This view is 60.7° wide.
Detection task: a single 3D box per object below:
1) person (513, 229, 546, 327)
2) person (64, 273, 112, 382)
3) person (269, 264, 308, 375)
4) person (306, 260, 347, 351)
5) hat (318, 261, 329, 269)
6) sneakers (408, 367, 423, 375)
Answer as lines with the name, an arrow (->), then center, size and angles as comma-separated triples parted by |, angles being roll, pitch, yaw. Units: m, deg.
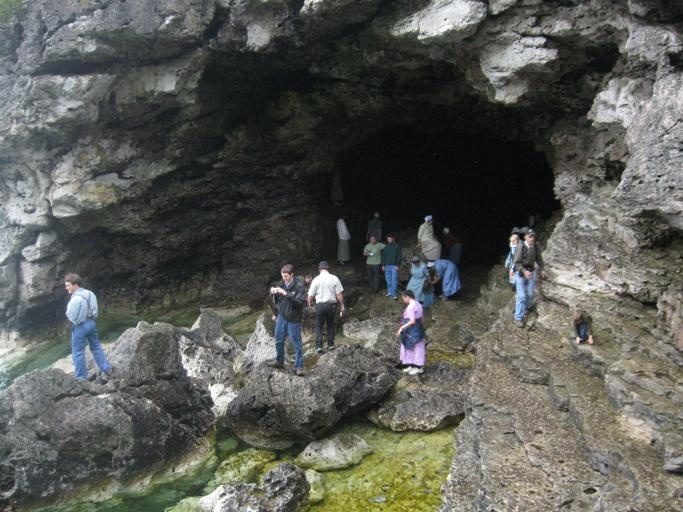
person -> 3.556, 0.424, 11.173 | 0.363, 1.819, 0.666 | 7, 5, 43
person -> -4.748, 1.329, 10.894 | 0.723, 1.905, 0.855 | 1, 5, -33
person -> -1.024, 1.151, 10.862 | 0.630, 1.947, 0.501 | 3, 4, -5
person -> -0.327, 1.041, 11.585 | 0.688, 1.832, 0.628 | 3, 4, -3
hat -> -0.362, 0.199, 11.421 | 0.157, 0.147, 0.162 | 3, 13, 0
sneakers -> 1.464, 2.259, 11.442 | 0.316, 0.139, 0.112 | 3, 3, -28
